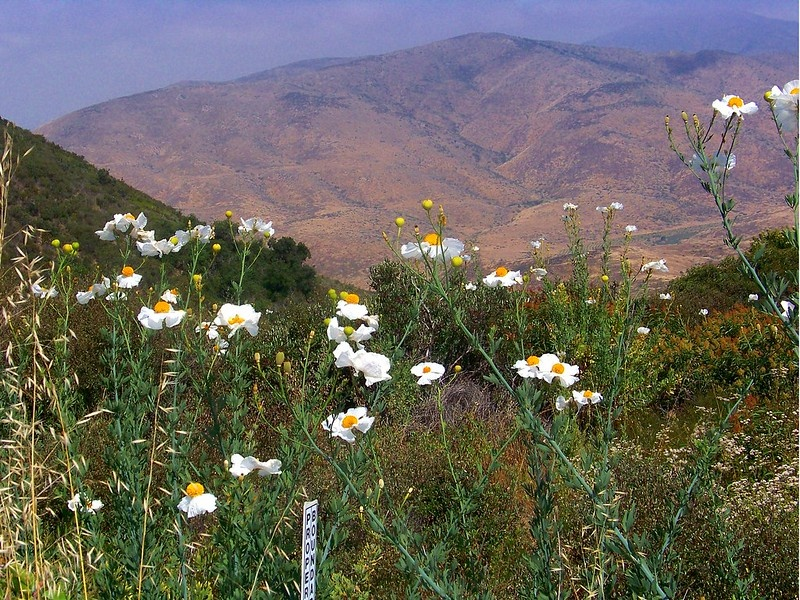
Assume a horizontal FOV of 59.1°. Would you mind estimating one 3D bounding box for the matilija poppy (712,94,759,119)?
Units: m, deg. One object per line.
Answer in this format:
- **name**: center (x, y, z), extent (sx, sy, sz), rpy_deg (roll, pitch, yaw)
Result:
- **matilija poppy**: center (1.747, -1.013, 3.686), extent (0.206, 0.122, 0.430), rpy_deg (-3, 15, 26)
